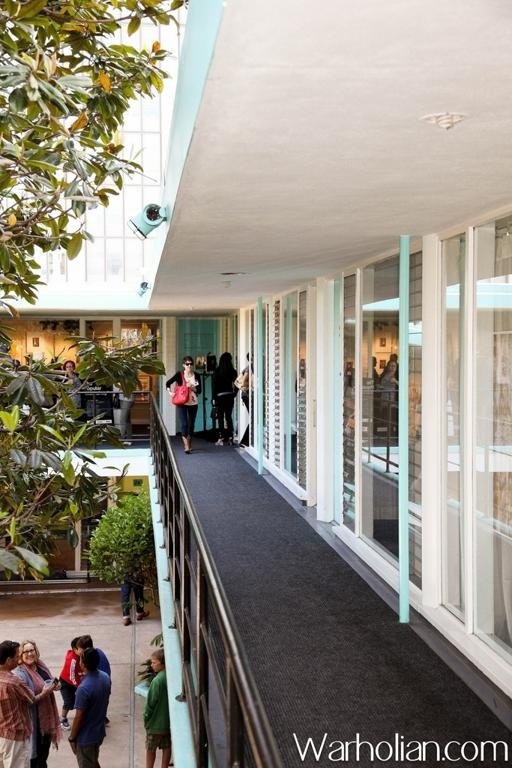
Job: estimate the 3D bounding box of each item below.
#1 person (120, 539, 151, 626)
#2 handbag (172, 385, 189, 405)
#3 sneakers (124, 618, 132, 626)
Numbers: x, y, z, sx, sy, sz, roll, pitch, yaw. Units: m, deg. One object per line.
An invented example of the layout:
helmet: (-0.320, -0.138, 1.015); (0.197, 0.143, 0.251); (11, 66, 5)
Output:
person: (-2.562, 4.206, 11.790); (0.530, 1.629, 1.834); (1, 0, -10)
handbag: (-1.363, 0.202, 10.148); (0.335, 0.461, 0.198); (-1, -8, 19)
sneakers: (-2.746, 5.053, 11.881); (0.086, 0.178, 0.251); (-1, -15, 0)
